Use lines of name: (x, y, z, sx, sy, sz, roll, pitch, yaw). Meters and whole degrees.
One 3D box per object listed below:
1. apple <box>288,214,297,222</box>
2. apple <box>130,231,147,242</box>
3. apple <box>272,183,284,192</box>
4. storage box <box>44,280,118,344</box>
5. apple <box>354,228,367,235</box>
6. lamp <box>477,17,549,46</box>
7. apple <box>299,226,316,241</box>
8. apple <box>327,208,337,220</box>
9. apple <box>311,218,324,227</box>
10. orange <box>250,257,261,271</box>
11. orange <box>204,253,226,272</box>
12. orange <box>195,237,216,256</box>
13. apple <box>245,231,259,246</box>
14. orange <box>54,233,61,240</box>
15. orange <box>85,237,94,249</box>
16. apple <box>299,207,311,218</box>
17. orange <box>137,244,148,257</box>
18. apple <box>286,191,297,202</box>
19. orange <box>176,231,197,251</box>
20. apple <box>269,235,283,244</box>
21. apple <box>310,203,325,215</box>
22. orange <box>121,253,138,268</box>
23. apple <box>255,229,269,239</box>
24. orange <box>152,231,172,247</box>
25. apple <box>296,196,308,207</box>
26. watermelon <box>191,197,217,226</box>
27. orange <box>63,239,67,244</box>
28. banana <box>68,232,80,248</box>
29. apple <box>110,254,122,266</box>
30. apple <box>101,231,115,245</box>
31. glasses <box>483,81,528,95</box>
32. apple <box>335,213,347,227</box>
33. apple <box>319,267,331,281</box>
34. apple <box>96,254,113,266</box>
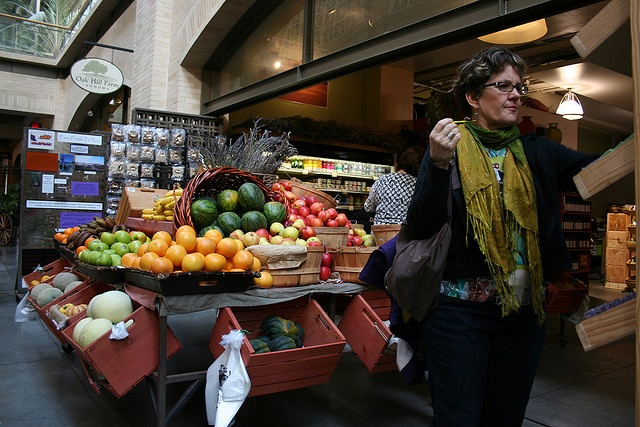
apple: (-0.233, 0.036, 3.493, 0.071, 0.059, 0.059, -8, 35, -19)
apple: (-1.542, 0.191, 3.484, 0.114, 0.095, 0.096, 11, 32, -30)
apple: (-0.375, -0.226, 3.749, 0.084, 0.085, 0.081, 6, -25, 8)
storage box: (-2.114, 0.961, 3.782, 0.615, 0.206, 0.623, -36, 27, -30)
apple: (0.382, 0.184, 3.960, 0.107, 0.063, 0.113, 3, -5, 6)
lamp: (2.721, -2.524, 5.801, 0.601, 0.383, 0.643, 1, 5, -33)
apple: (-0.098, 0.161, 3.350, 0.099, 0.098, 0.117, -1, -35, 34)
apple: (0.104, 0.004, 3.747, 0.081, 0.082, 0.079, 24, 1, 20)
apple: (-0.023, 0.078, 3.544, 0.073, 0.071, 0.072, -8, 8, -24)
orange: (-0.444, 0.363, 2.913, 0.081, 0.097, 0.080, 2, -18, -19)
orange: (-0.690, 0.327, 2.680, 0.126, 0.110, 0.120, 4, 4, -3)
orange: (-0.767, 0.226, 2.790, 0.123, 0.093, 0.092, 16, 7, -29)
apple: (-0.492, 0.185, 3.000, 0.088, 0.102, 0.087, 0, 13, -9)
orange: (-3.260, 0.292, 5.109, 0.073, 0.067, 0.072, -19, 15, -40)
orange: (-1.996, 0.263, 3.559, 0.052, 0.062, 0.052, -17, 44, -22)
apple: (-0.135, -0.004, 3.696, 0.084, 0.084, 0.086, 8, 13, 8)
orange: (-1.248, 0.267, 2.898, 0.061, 0.063, 0.074, -2, -35, -50)
apple: (-0.287, -0.161, 3.860, 0.100, 0.062, 0.077, 35, 6, 24)
orange: (-0.885, 0.196, 2.737, 0.128, 0.129, 0.077, 2, 4, -19)
apple: (-0.329, 0.212, 3.114, 0.065, 0.066, 0.066, 5, 16, 25)
apple: (-0.024, -0.039, 3.833, 0.124, 0.098, 0.108, -23, -34, 10)
orange: (-1.355, 0.337, 2.915, 0.101, 0.118, 0.104, 7, -2, -5)
apple: (-0.449, 0.158, 3.183, 0.074, 0.072, 0.074, -6, 34, 9)
orange: (-1.105, 0.174, 2.916, 0.111, 0.131, 0.112, 3, 44, 1)
apple: (-0.157, -0.113, 3.808, 0.077, 0.073, 0.075, -10, 48, -14)
watermelon: (-0.904, 0.007, 3.190, 0.133, 0.238, 0.211, 7, 5, 38)
orange: (-2.874, 0.320, 4.638, 0.058, 0.032, 0.058, -5, 14, -11)
banana: (-2.524, 0.282, 4.217, 0.044, 0.126, 0.098, 27, 6, -28)
apple: (-1.550, 0.355, 3.118, 0.088, 0.058, 0.104, -2, 14, -21)
apple: (-1.776, 0.212, 3.496, 0.099, 0.096, 0.097, 18, -7, -1)
glasses: (0.822, -0.544, 1.780, 0.105, 0.031, 0.105, 1, -1, -23)
apple: (0.189, 0.063, 3.706, 0.105, 0.119, 0.099, 0, -8, -4)
apple: (0.042, 0.494, 3.332, 0.092, 0.096, 0.094, 2, 8, -1)
apple: (-1.602, 0.356, 3.066, 0.088, 0.090, 0.105, -12, -36, -7)
